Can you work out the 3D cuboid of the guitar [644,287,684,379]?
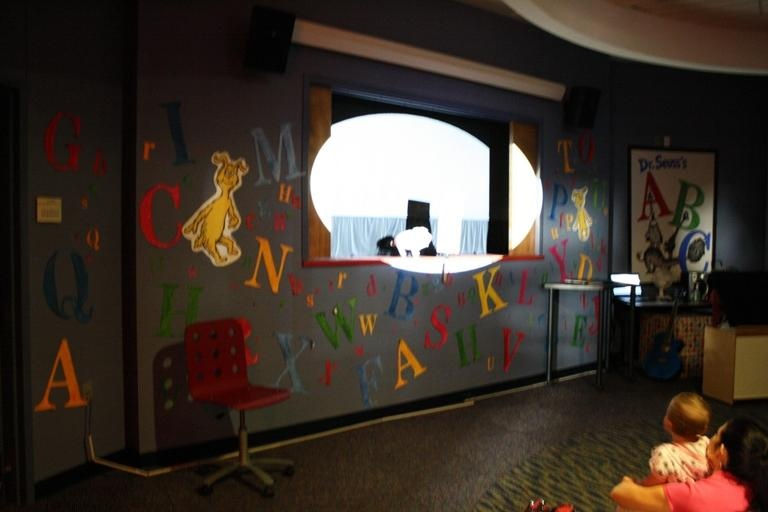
[{"bbox_3d":[3.196,0.882,6.443,0.389,1.126,0.122,3,-28,48],"label":"guitar"}]

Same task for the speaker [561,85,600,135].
[{"bbox_3d":[2.182,-1.724,6.321,0.457,0.508,0.431,4,37,10],"label":"speaker"}]

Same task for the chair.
[{"bbox_3d":[-1.121,1.156,4.514,0.645,1.265,0.722,-2,0,19],"label":"chair"}]

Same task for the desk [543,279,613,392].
[{"bbox_3d":[2.167,0.834,6.443,0.700,1.181,1.002,0,5,5],"label":"desk"}]

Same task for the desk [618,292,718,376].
[{"bbox_3d":[3.381,0.888,6.666,0.236,1.145,0.640,19,-10,-8],"label":"desk"}]
